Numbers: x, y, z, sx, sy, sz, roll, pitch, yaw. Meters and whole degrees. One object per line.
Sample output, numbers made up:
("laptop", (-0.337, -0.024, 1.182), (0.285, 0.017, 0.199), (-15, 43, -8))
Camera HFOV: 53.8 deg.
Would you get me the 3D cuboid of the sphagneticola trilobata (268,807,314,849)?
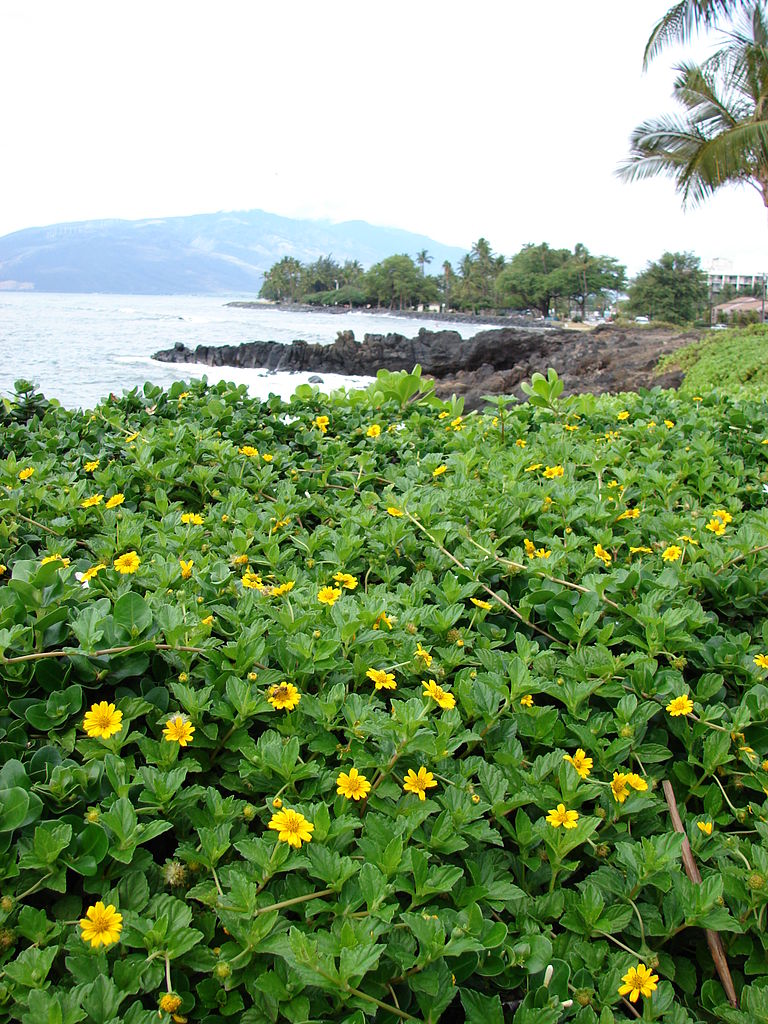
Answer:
("sphagneticola trilobata", (-0.124, 0.423, 1.028), (0.065, 0.020, 0.062), (18, 23, -26))
